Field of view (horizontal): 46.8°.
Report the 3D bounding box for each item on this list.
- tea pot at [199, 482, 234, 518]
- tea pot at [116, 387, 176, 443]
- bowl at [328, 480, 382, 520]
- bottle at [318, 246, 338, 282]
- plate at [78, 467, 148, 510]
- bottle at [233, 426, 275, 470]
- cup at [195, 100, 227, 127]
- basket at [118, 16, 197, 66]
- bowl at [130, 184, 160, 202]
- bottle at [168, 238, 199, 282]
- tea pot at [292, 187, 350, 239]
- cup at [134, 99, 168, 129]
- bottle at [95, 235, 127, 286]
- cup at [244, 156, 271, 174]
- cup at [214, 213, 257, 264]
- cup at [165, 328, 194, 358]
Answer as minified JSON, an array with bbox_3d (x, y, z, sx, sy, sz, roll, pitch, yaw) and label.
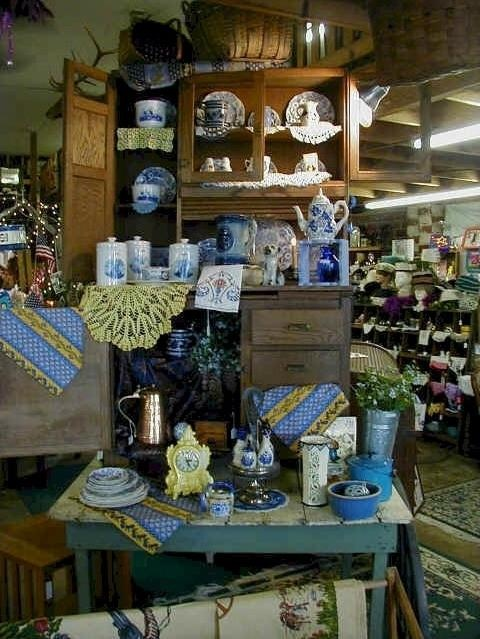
[{"bbox_3d":[-0.072,0.525,1.618,0.082,0.071,0.073,-1,10,1],"label":"tea pot"},{"bbox_3d":[-0.327,0.341,1.925,0.195,0.180,0.126,2,-3,-23],"label":"tea pot"},{"bbox_3d":[0.329,0.520,1.596,0.144,0.073,0.143,-2,3,0],"label":"bowl"},{"bbox_3d":[0.306,-0.189,1.909,0.064,0.125,0.068,2,3,0],"label":"bottle"},{"bbox_3d":[-0.376,0.496,1.686,0.126,0.045,0.119,3,6,0],"label":"plate"},{"bbox_3d":[0.045,0.409,1.755,0.124,0.101,0.119,-1,-11,11],"label":"bottle"},{"bbox_3d":[-0.120,-0.923,2.497,0.156,0.100,0.105,1,10,2],"label":"cup"},{"bbox_3d":[-0.388,-1.248,2.495,0.243,0.109,0.310,1,32,-9],"label":"basket"},{"bbox_3d":[-0.416,-0.555,2.434,0.096,0.068,0.087,2,4,31],"label":"bowl"},{"bbox_3d":[-0.194,-0.204,1.953,0.104,0.154,0.115,2,4,0],"label":"bottle"},{"bbox_3d":[0.287,-0.360,1.954,0.194,0.151,0.119,0,13,7],"label":"tea pot"},{"bbox_3d":[-0.408,-0.935,2.529,0.143,0.098,0.136,1,9,0],"label":"cup"},{"bbox_3d":[-0.427,-0.195,1.870,0.105,0.164,0.100,1,5,0],"label":"bottle"},{"bbox_3d":[0.091,-0.708,2.545,0.163,0.104,0.118,-1,13,0],"label":"cup"},{"bbox_3d":[-0.002,-0.289,2.072,0.182,0.163,0.151,3,6,38],"label":"cup"},{"bbox_3d":[-0.230,0.097,2.129,0.121,0.104,0.088,2,1,-27],"label":"cup"}]
